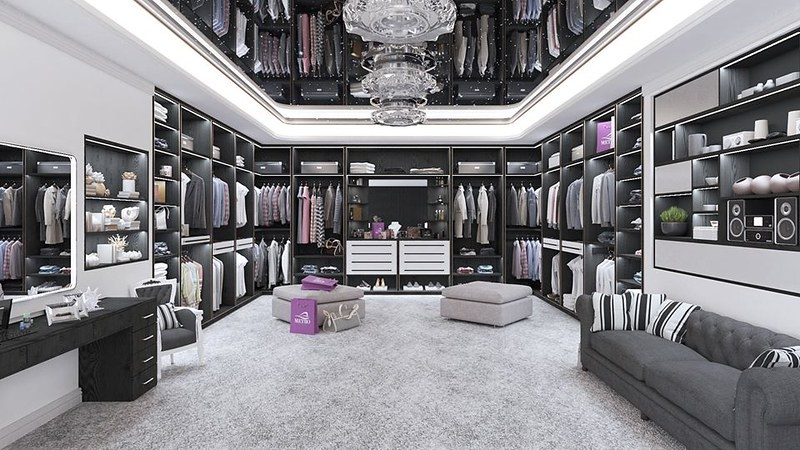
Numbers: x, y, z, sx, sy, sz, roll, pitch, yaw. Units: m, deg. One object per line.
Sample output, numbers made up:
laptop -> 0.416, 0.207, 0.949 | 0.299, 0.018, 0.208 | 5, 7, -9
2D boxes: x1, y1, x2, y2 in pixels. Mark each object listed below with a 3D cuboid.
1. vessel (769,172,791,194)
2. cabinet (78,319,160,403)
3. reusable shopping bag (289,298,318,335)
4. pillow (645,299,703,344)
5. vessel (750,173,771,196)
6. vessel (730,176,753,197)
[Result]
vessel -> 4.214, -0.459, 4.999 | 0.229, 0.222, 0.159 | -1, 1, -18
cabinet -> -3.323, 1.604, 5.722 | 0.873, 1.321, 0.703 | 0, 0, -1
reusable shopping bag -> -1.464, 1.391, 6.980 | 0.532, 0.615, 0.207 | -1, -6, 10
pillow -> 3.261, 1.129, 5.439 | 0.147, 0.475, 0.500 | 32, -5, -22
vessel -> 4.086, -0.455, 5.128 | 0.147, 0.217, 0.181 | -1, 1, -32
vessel -> 4.002, -0.461, 5.311 | 0.164, 0.216, 0.254 | 0, 1, 28
